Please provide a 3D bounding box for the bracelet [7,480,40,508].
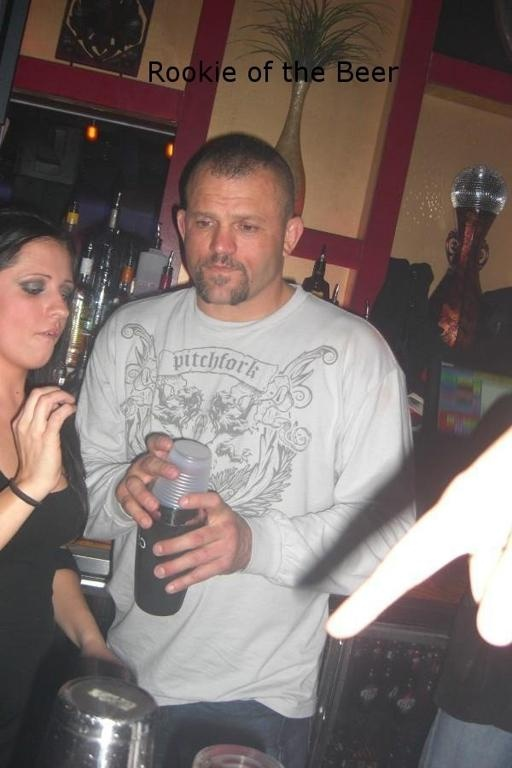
[{"bbox_3d":[-0.450,0.212,1.198,0.048,0.012,0.049,43,-9,-23],"label":"bracelet"}]
